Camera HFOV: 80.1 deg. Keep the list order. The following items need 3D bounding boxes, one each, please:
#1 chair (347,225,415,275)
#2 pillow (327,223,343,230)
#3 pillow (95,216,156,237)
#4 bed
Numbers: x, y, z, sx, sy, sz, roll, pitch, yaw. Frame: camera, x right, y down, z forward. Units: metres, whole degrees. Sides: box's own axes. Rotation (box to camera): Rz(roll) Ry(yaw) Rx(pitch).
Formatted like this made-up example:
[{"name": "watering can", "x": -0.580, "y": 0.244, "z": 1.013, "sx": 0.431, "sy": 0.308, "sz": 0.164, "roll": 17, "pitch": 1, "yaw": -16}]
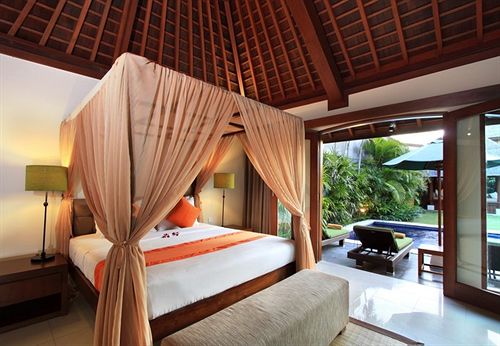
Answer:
[{"name": "chair", "x": 2.551, "y": 1.386, "z": 5.848, "sx": 0.708, "sy": 0.622, "sz": 1.302, "roll": 2, "pitch": 7, "yaw": 39}, {"name": "pillow", "x": 2.202, "y": 1.397, "z": 7.609, "sx": 0.379, "sy": 0.163, "sz": 0.148, "roll": 1, "pitch": -24, "yaw": 30}, {"name": "pillow", "x": -1.374, "y": 0.586, "z": 3.302, "sx": 0.505, "sy": 0.157, "sz": 0.489, "roll": 3, "pitch": -3, "yaw": -45}, {"name": "bed", "x": -1.297, "y": 1.603, "z": 4.485, "sx": 2.265, "sy": 0.933, "sz": 2.316, "roll": 1, "pitch": -3, "yaw": -40}]
